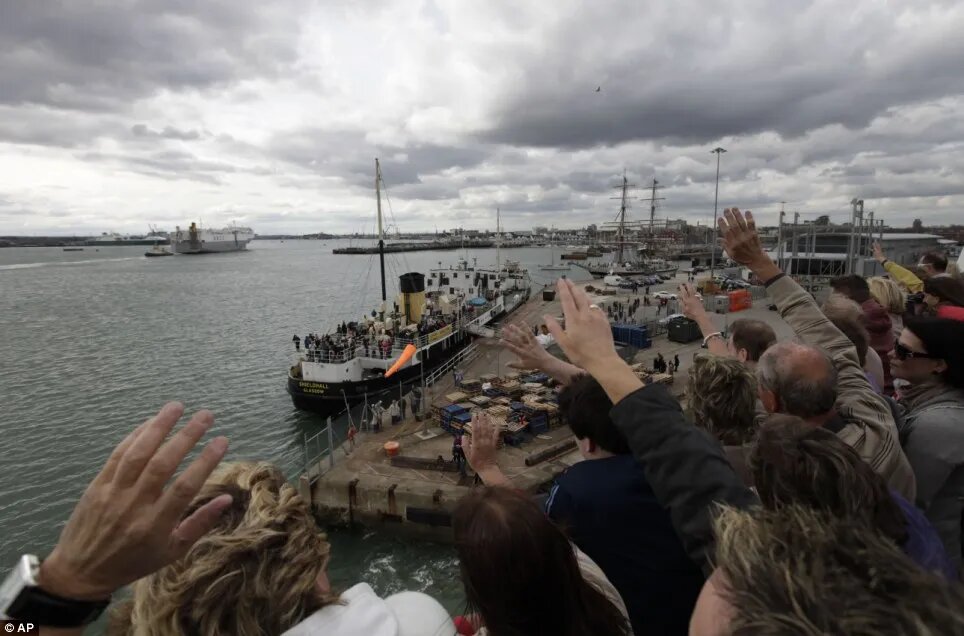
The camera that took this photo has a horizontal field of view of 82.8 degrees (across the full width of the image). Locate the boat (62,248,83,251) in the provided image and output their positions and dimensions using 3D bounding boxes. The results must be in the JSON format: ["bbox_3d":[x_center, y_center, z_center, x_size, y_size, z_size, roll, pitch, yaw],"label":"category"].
[{"bbox_3d":[-190.186,-32.125,253.786,5.084,2.054,69.170,-7,10,-38],"label":"boat"}]

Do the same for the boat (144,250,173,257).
[{"bbox_3d":[-106.481,-21.172,179.426,6.306,2.005,12.952,-6,10,-33],"label":"boat"}]
